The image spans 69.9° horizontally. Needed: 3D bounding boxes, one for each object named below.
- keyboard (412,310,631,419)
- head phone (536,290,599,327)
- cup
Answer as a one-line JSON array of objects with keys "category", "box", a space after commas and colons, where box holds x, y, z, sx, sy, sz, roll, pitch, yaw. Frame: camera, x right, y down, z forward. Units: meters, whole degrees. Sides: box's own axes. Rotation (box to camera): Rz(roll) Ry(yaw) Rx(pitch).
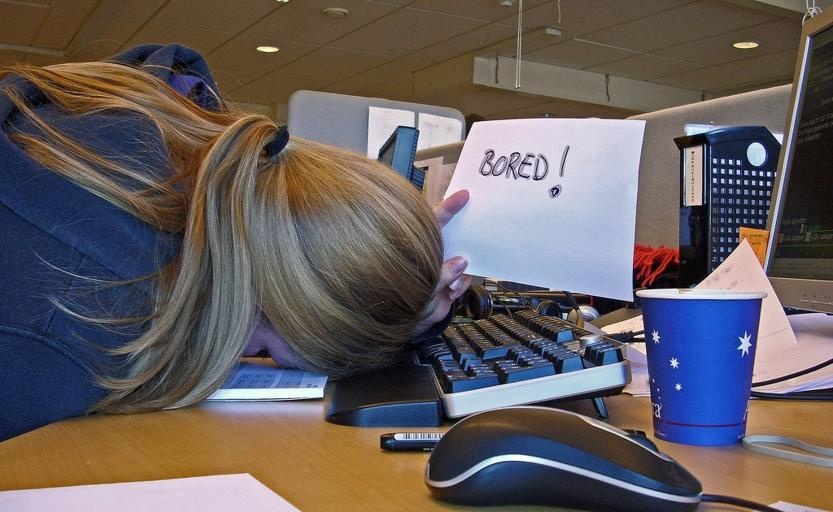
[{"category": "keyboard", "box": [0.130, 0.134, 0.853, 0.239, 0.088, 0.300, -1, 11, -8]}, {"category": "head phone", "box": [0.290, 0.100, 1.144, 0.106, 0.038, 0.101, 4, 3, -8]}, {"category": "cup", "box": [0.332, 0.126, 0.734, 0.172, 0.168, 0.171, -1, -4, 0]}]
